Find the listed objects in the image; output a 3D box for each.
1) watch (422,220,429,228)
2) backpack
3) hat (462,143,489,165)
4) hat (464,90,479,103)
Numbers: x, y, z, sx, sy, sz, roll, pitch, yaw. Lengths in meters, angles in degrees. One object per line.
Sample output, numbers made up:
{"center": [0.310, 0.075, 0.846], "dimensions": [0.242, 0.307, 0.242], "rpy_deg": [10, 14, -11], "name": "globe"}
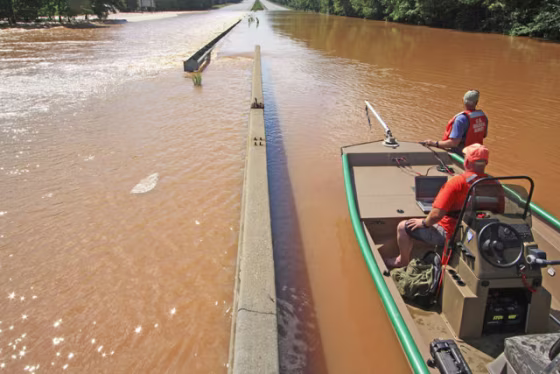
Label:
{"center": [2.349, 0.589, 5.898], "dimensions": [0.112, 0.070, 0.110], "rpy_deg": [22, 22, -17], "name": "watch"}
{"center": [2.196, 1.415, 5.811], "dimensions": [0.904, 0.333, 0.674], "rpy_deg": [-6, 37, 3], "name": "backpack"}
{"center": [3.027, -0.530, 5.665], "dimensions": [0.284, 0.216, 0.382], "rpy_deg": [2, 34, 10], "name": "hat"}
{"center": [3.926, -1.869, 7.453], "dimensions": [0.262, 0.218, 0.361], "rpy_deg": [9, 55, 34], "name": "hat"}
